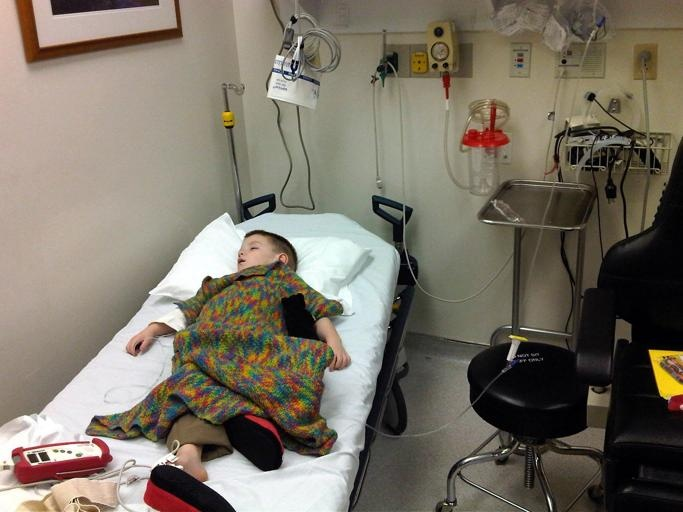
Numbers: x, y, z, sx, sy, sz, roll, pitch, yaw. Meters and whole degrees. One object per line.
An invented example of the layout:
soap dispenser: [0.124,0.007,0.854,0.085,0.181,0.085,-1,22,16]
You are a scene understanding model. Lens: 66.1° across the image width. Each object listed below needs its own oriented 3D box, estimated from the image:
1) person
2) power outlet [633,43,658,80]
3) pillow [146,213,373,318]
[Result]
person: [-0.445,0.289,1.948,0.700,0.270,1.075,-17,32,25]
power outlet: [1.314,-0.841,2.281,0.083,0.151,0.079,-8,24,-17]
pillow: [-0.341,0.029,2.290,0.573,0.182,0.517,13,43,4]
